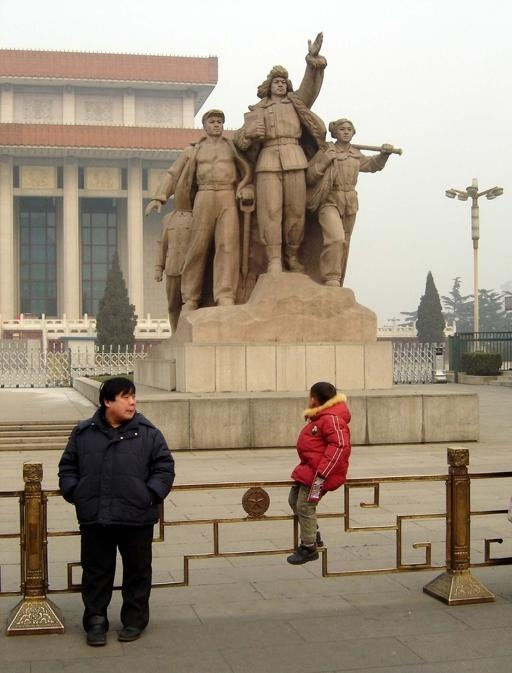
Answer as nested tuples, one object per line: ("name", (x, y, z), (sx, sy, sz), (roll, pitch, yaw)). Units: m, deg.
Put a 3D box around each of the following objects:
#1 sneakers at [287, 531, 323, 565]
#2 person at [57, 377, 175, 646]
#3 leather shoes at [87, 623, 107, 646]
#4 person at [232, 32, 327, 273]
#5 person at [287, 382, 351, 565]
("sneakers", (0.267, 1.127, 6.748), (0.271, 0.173, 0.102), (-4, -8, -27))
("person", (-0.683, 0.795, 6.016), (0.460, 1.174, 0.466), (6, 9, 37))
("leather shoes", (-0.736, 1.364, 5.883), (0.089, 0.079, 0.113), (0, 7, -9))
("person", (0.247, -1.848, 13.502), (0.974, 2.371, 0.818), (-1, 7, -13))
("person", (0.329, 0.711, 6.760), (0.300, 0.895, 0.372), (2, 7, 5))
